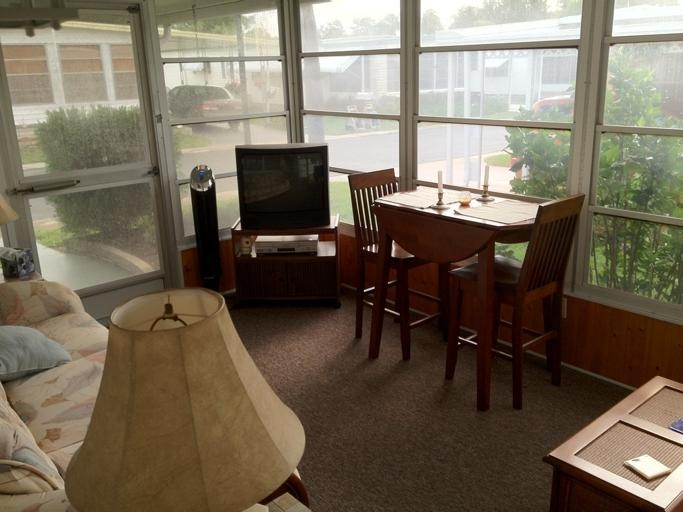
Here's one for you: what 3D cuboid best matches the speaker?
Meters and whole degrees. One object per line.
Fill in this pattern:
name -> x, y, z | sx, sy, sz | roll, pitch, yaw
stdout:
speaker -> -1.220, -0.226, 4.603 | 0.233, 1.178, 0.285 | -7, 18, -15

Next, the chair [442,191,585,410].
chair -> 1.068, 0.248, 3.217 | 0.796, 1.269, 0.646 | 0, 17, 9

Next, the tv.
tv -> -0.401, -0.652, 4.654 | 1.129, 0.948, 0.650 | -2, 18, -3
